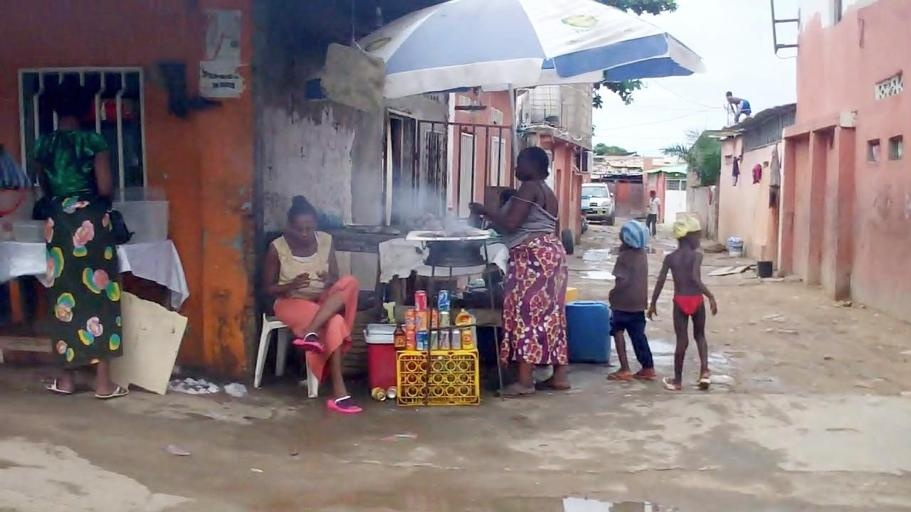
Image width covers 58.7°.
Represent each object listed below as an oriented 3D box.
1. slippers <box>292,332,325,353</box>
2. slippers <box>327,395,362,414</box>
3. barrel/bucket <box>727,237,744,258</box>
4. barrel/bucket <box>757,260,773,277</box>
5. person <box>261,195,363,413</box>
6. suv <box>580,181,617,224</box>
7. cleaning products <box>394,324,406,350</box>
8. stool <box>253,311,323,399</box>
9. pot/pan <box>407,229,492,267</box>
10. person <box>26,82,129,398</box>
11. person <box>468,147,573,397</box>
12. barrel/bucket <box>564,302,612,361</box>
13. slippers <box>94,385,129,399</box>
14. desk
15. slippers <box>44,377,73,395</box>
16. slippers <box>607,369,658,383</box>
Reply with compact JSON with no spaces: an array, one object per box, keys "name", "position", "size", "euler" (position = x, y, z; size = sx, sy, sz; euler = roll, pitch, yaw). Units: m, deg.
[{"name":"slippers","position":[-1.570,0.913,8.492],"size":[0.411,0.146,0.161],"euler":[-10,37,42]},{"name":"slippers","position":[-1.193,1.549,8.517],"size":[0.178,0.088,0.307],"euler":[-4,4,-44]},{"name":"barrel/bucket","position":[7.453,-0.240,21.534],"size":[0.378,0.497,0.474],"euler":[1,2,12]},{"name":"barrel/bucket","position":[6.304,0.280,16.485],"size":[0.249,0.323,0.253],"euler":[1,2,0]},{"name":"person","position":[-1.552,0.488,8.729],"size":[1.002,2.267,0.809],"euler":[0,2,-14]},{"name":"suv","position":[6.090,-2.277,34.668],"size":[1.310,1.259,2.690],"euler":[-1,-2,9]},{"name":"cleaning products","position":[-0.615,0.895,8.915],"size":[0.129,0.256,0.218],"euler":[1,2,-3]},{"name":"stool","position":[-1.864,1.029,9.059],"size":[0.651,1.054,0.571],"euler":[-1,0,6]},{"name":"pot/pan","position":[-0.072,-0.085,9.037],"size":[0.898,0.411,0.439],"euler":[1,2,-2]},{"name":"person","position":[-3.827,-0.204,8.557],"size":[1.003,3.160,0.910],"euler":[5,5,28]},{"name":"person","position":[0.847,0.162,9.097],"size":[0.913,2.781,0.473],"euler":[1,2,7]},{"name":"barrel/bucket","position":[1.570,0.960,10.318],"size":[0.702,0.676,0.684],"euler":[0,-2,0]},{"name":"slippers","position":[-3.562,1.396,8.384],"size":[0.123,0.074,0.288],"euler":[10,8,40]},{"name":"desk","position":[-3.685,0.422,8.694],"size":[1.157,0.758,0.863],"euler":[1,5,2]},{"name":"slippers","position":[-4.109,1.355,8.370],"size":[0.270,0.080,0.145],"euler":[14,6,15]},{"name":"slippers","position":[2.059,1.398,9.440],"size":[0.519,0.180,0.200],"euler":[2,-1,-1]}]
